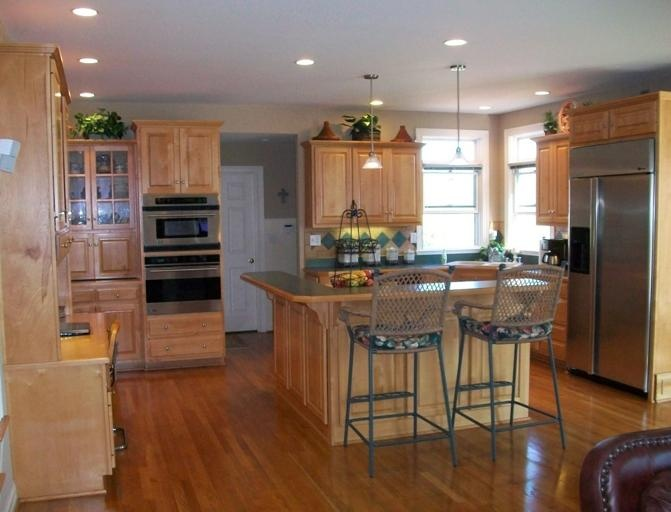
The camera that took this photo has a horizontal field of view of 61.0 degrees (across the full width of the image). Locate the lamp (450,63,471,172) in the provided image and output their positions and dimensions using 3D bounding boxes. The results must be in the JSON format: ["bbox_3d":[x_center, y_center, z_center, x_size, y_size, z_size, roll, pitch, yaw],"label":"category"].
[{"bbox_3d":[1.210,-1.374,5.660,0.222,0.976,0.218,-2,15,6],"label":"lamp"}]

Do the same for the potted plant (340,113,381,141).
[{"bbox_3d":[0.295,-1.593,7.062,0.413,0.306,0.414,2,3,10],"label":"potted plant"}]

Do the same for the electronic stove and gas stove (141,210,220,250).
[{"bbox_3d":[-1.618,-0.307,6.496,0.900,0.542,0.572,-1,2,13],"label":"electronic stove and gas stove"}]

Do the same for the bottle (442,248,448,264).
[{"bbox_3d":[1.459,0.005,7.647,0.072,0.181,0.189,0,7,9],"label":"bottle"}]

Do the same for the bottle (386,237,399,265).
[{"bbox_3d":[0.736,-0.058,7.469,0.183,0.311,0.170,-1,7,0],"label":"bottle"}]

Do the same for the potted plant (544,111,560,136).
[{"bbox_3d":[2.538,-1.576,6.732,0.176,0.316,0.523,1,7,19],"label":"potted plant"}]

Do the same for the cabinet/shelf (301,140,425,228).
[{"bbox_3d":[0.265,-0.906,7.032,1.122,0.787,0.366,-1,2,-14],"label":"cabinet/shelf"}]

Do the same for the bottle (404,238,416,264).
[{"bbox_3d":[0.975,-0.053,7.537,0.134,0.293,0.176,1,7,15],"label":"bottle"}]

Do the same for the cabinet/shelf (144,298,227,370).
[{"bbox_3d":[-1.707,0.890,6.468,0.868,0.686,0.483,-1,-1,-14],"label":"cabinet/shelf"}]

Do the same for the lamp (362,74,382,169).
[{"bbox_3d":[0.366,-1.401,5.858,0.256,0.944,0.255,17,31,40],"label":"lamp"}]

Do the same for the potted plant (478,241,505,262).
[{"bbox_3d":[2.073,-0.055,7.662,0.267,0.245,0.263,-4,8,-34],"label":"potted plant"}]

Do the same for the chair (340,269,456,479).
[{"bbox_3d":[0.439,0.758,4.049,0.873,1.313,0.887,-1,2,-43],"label":"chair"}]

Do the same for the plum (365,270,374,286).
[{"bbox_3d":[0.273,0.181,4.607,0.063,0.107,0.043,17,-33,-32],"label":"plum"}]

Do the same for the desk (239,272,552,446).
[{"bbox_3d":[0.434,0.757,5.250,2.459,1.221,2.388,-3,4,-21],"label":"desk"}]

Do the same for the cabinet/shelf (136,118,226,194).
[{"bbox_3d":[-1.715,-1.010,6.343,0.876,0.843,0.429,-2,-3,-7],"label":"cabinet/shelf"}]

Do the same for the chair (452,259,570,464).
[{"bbox_3d":[1.342,0.711,4.285,0.975,1.366,0.681,-4,7,-23],"label":"chair"}]
